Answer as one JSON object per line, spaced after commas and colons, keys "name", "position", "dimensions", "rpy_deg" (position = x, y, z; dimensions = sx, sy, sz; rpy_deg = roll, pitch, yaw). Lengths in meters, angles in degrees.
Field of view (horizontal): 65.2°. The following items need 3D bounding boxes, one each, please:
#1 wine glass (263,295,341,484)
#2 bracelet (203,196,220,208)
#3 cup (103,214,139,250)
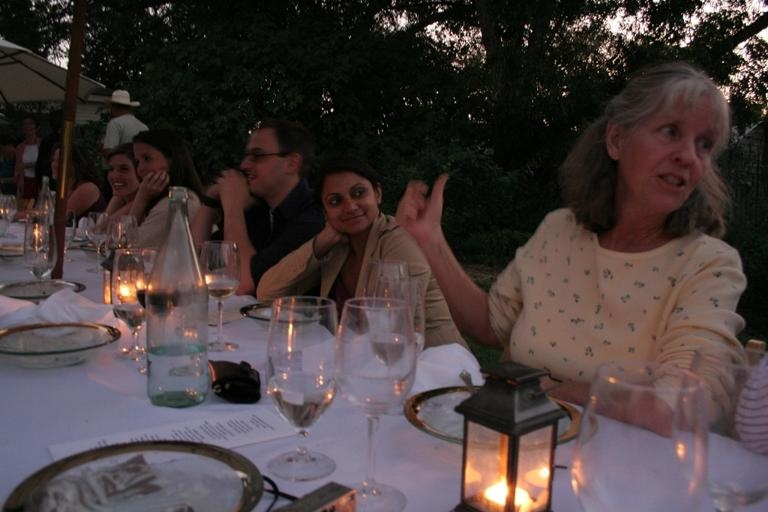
{"name": "wine glass", "position": [-0.175, 0.278, 1.296], "dimensions": [0.158, 0.369, 0.179], "rpy_deg": [3, 3, -22]}
{"name": "bracelet", "position": [-1.097, -0.342, 3.822], "dimensions": [0.076, 0.049, 0.077], "rpy_deg": [18, 8, 0]}
{"name": "cup", "position": [-1.295, -0.117, 2.990], "dimensions": [0.156, 0.211, 0.153], "rpy_deg": [2, 4, 0]}
